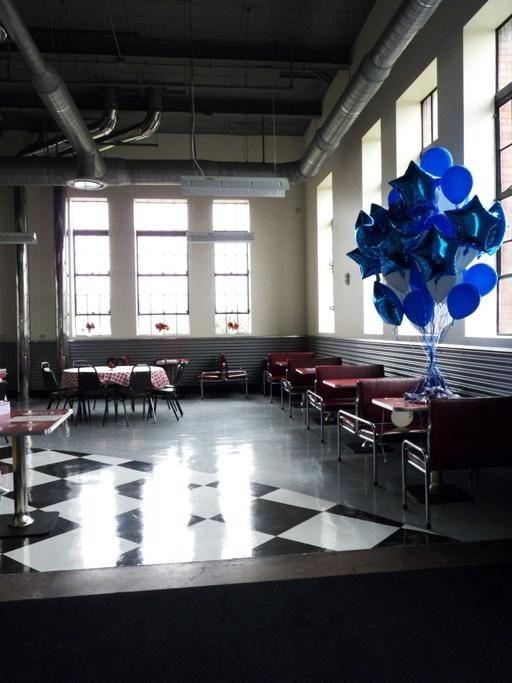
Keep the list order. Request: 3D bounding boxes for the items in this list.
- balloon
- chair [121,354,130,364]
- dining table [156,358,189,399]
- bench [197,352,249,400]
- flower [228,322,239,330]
[{"bbox_3d":[1.212,-0.736,4.196,0.591,1.327,1.121,-2,1,-19],"label":"balloon"},{"bbox_3d":[-2.222,0.306,10.240,0.117,0.190,0.120,-16,25,-41],"label":"chair"},{"bbox_3d":[-1.331,0.518,10.080,0.607,0.801,0.456,4,-3,-40],"label":"dining table"},{"bbox_3d":[-0.572,0.619,10.943,0.871,0.719,0.798,-1,1,-6],"label":"bench"},{"bbox_3d":[-0.443,-0.288,11.682,0.179,0.172,0.083,-1,1,23],"label":"flower"}]
